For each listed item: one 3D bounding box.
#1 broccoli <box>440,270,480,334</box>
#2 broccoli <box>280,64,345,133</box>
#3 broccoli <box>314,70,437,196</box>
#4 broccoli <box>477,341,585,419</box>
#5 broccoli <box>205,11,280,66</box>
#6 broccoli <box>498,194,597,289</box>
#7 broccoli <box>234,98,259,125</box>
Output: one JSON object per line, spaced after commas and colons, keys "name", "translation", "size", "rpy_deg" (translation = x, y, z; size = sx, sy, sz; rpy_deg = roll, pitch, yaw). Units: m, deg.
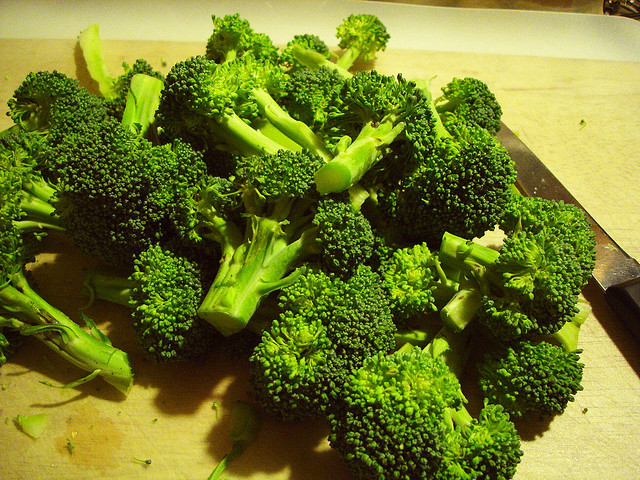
{"name": "broccoli", "translation": [0.692, 0.285, 2.701], "size": [0.155, 0.111, 0.290], "rpy_deg": [26, 52, 20]}
{"name": "broccoli", "translation": [-0.040, -0.742, 2.933], "size": [0.294, 0.266, 0.288], "rpy_deg": [61, 10, 30]}
{"name": "broccoli", "translation": [0.270, -0.515, 2.762], "size": [0.394, 0.336, 0.479], "rpy_deg": [55, 47, -3]}
{"name": "broccoli", "translation": [0.989, 0.646, 2.585], "size": [0.456, 0.354, 0.227], "rpy_deg": [13, 30, -15]}
{"name": "broccoli", "translation": [-0.528, -1.158, 3.169], "size": [0.227, 0.224, 0.287], "rpy_deg": [27, 7, 41]}
{"name": "broccoli", "translation": [1.153, 0.005, 2.802], "size": [0.491, 0.249, 0.379], "rpy_deg": [31, 62, 16]}
{"name": "broccoli", "translation": [-0.380, -0.665, 2.849], "size": [0.119, 0.077, 0.098], "rpy_deg": [23, 7, 31]}
